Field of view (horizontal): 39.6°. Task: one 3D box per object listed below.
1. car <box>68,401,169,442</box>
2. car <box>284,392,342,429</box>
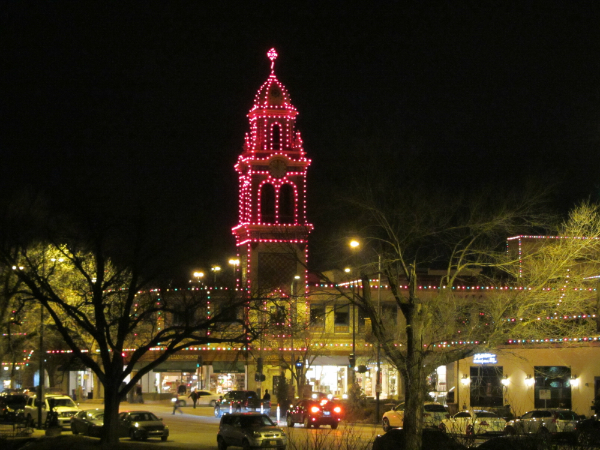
[{"bbox_3d":[-10.548,11.547,48.127,5.436,1.761,2.552,-10,-14,41],"label":"car"},{"bbox_3d":[0.740,12.429,52.361,2.759,2.728,7.178,3,-11,-18],"label":"car"}]
